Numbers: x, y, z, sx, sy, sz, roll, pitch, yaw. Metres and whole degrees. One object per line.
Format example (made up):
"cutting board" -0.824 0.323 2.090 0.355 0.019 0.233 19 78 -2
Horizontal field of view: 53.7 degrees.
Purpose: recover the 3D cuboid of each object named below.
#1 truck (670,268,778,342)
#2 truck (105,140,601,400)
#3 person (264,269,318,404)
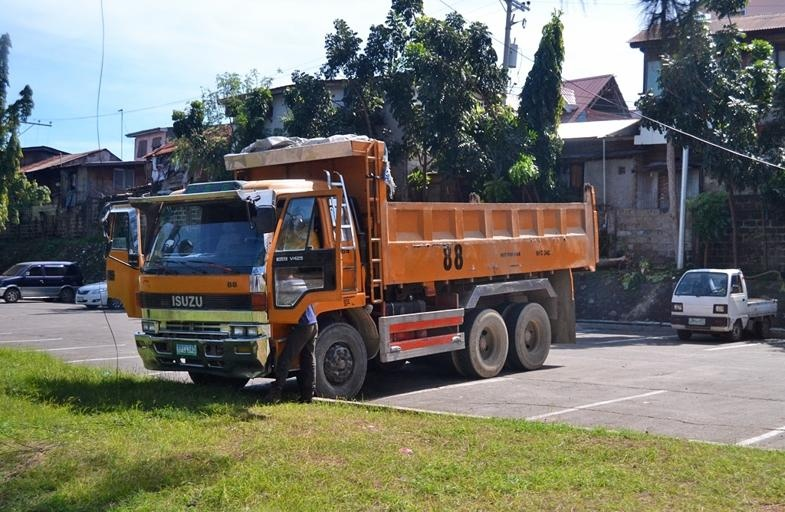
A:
"truck" 10.763 1.614 25.133 1.708 1.960 3.394 -5 -7 41
"truck" -0.061 0.060 16.828 11.404 5.186 3.876 -3 9 -30
"person" -1.750 1.493 13.910 0.799 2.274 0.632 0 8 -5
